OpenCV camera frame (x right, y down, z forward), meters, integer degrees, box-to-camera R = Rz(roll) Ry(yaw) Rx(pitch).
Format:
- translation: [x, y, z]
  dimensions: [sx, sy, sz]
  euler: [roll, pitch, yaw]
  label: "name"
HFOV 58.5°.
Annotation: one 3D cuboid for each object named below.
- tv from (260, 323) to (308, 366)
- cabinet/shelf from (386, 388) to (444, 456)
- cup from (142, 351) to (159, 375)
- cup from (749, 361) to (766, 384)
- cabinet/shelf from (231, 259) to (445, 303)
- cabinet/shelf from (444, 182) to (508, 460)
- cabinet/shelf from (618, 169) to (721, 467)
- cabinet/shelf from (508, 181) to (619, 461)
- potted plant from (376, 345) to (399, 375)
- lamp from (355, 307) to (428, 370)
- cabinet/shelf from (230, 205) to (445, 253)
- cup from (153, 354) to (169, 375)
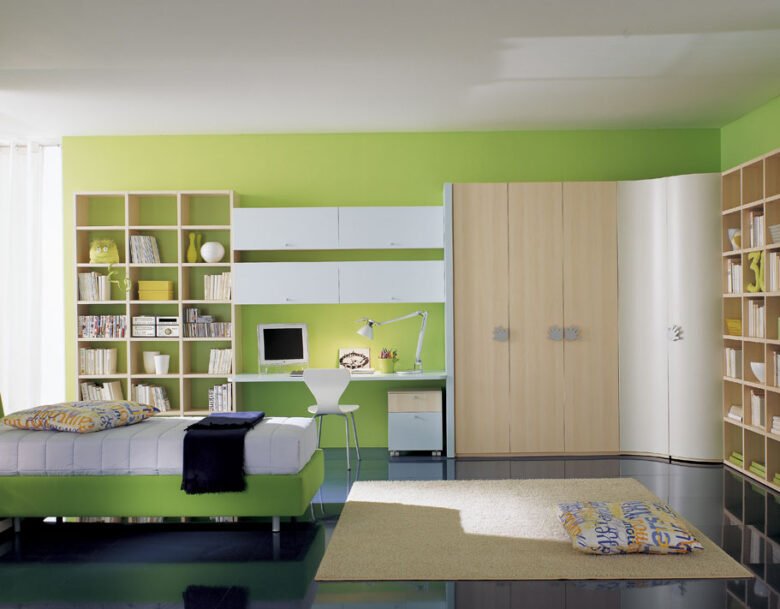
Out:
- translation: [-1.022, 0.383, 6.667]
  dimensions: [0.484, 0.389, 0.027]
  euler: [-2, 1, 2]
  label: "tv"
- translation: [0.131, 1.135, 6.646]
  dimensions: [0.586, 0.591, 0.450]
  euler: [5, -11, -27]
  label: "cabinet/shelf"
- translation: [-2.336, 0.558, 6.764]
  dimensions: [0.197, 0.217, 0.198]
  euler: [0, -6, 0]
  label: "cup"
- translation: [2.995, 0.556, 5.686]
  dimensions: [0.131, 0.117, 0.140]
  euler: [1, 2, 0]
  label: "cup"
- translation: [-0.480, -0.189, 6.687]
  dimensions: [2.022, 0.382, 0.305]
  euler: [0, -5, 3]
  label: "cabinet/shelf"
- translation: [0.954, 0.029, 6.552]
  dimensions: [0.697, 2.795, 0.318]
  euler: [-12, -21, 37]
  label: "cabinet/shelf"
- translation: [2.595, 0.105, 6.614]
  dimensions: [1.055, 2.518, 0.698]
  euler: [-1, 0, 12]
  label: "cabinet/shelf"
- translation: [1.601, 0.121, 6.414]
  dimensions: [0.978, 2.454, 0.438]
  euler: [0, 7, 7]
  label: "cabinet/shelf"
- translation: [-0.019, 0.536, 6.710]
  dimensions: [0.149, 0.223, 0.235]
  euler: [1, -7, -1]
  label: "potted plant"
- translation: [0.027, 0.332, 6.785]
  dimensions: [0.668, 0.607, 0.160]
  euler: [3, 17, 5]
  label: "lamp"
- translation: [-0.503, -0.712, 6.707]
  dimensions: [1.987, 0.455, 0.261]
  euler: [-1, -9, -4]
  label: "cabinet/shelf"
- translation: [-2.212, 0.578, 6.729]
  dimensions: [0.133, 0.186, 0.183]
  euler: [-3, 7, -13]
  label: "cup"
